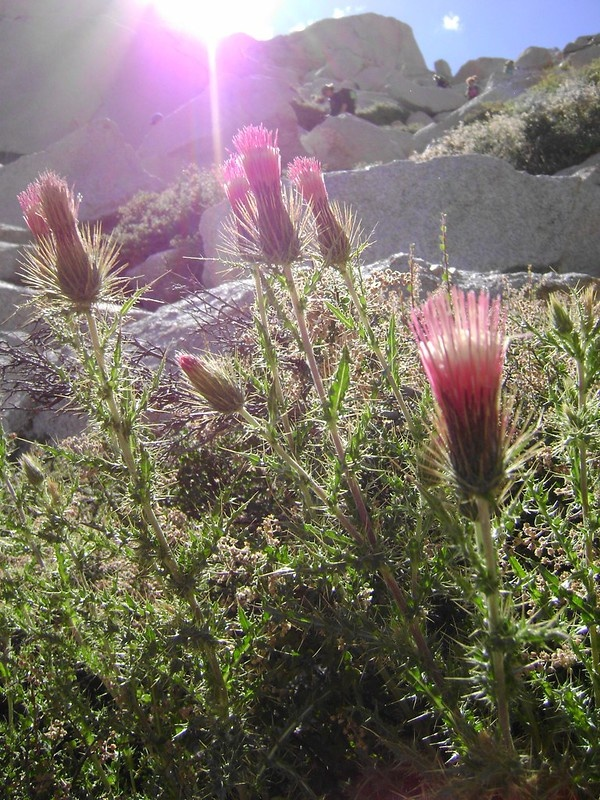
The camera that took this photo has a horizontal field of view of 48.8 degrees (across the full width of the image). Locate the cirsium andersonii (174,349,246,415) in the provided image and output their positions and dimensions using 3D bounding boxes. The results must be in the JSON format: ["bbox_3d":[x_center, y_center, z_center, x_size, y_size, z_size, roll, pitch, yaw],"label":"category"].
[{"bbox_3d":[-0.256,-0.049,1.880,0.145,0.151,0.098,-13,7,8],"label":"cirsium andersonii"}]

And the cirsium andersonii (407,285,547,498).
[{"bbox_3d":[0.330,-0.011,1.252,0.164,0.262,0.122,-14,7,10],"label":"cirsium andersonii"}]

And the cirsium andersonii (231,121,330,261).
[{"bbox_3d":[-0.080,-0.638,1.988,0.169,0.345,0.321,-15,6,3],"label":"cirsium andersonii"}]
